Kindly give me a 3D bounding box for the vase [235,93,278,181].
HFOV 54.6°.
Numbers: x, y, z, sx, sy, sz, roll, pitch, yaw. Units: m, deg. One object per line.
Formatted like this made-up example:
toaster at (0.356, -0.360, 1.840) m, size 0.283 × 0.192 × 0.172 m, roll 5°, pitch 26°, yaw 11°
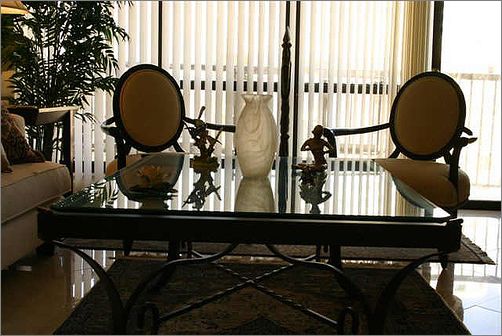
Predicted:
vase at (0.038, -0.234, 2.905) m, size 0.267 × 0.535 × 0.281 m, roll 9°, pitch 16°, yaw 31°
